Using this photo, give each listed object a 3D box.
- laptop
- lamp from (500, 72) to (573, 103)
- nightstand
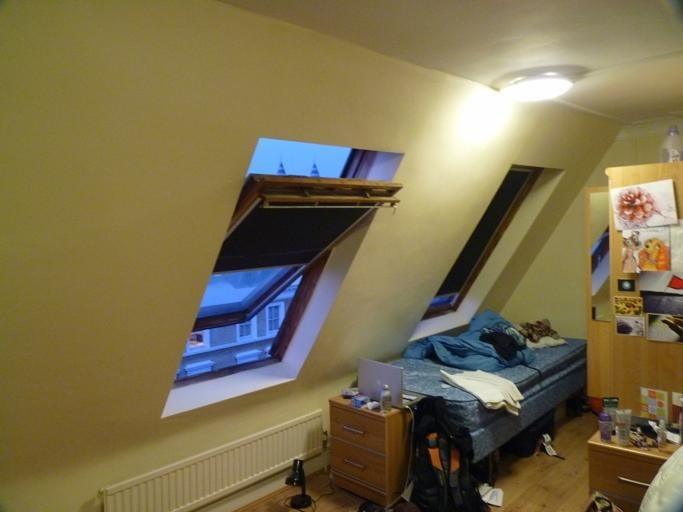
[{"bbox_3d":[0.387,0.919,4.075,0.300,0.287,0.413,-1,2,-41],"label":"laptop"},{"bbox_3d":[1.240,-1.089,3.425,0.421,0.134,0.357,14,8,19],"label":"lamp"},{"bbox_3d":[0.208,1.333,4.270,0.790,0.930,0.581,-1,-2,44],"label":"nightstand"}]
